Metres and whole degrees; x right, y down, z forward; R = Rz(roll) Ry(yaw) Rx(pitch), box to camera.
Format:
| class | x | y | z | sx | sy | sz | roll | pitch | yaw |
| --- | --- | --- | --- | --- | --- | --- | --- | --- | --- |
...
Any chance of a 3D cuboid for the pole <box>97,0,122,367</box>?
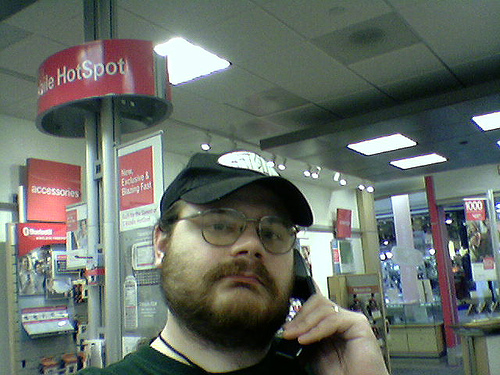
| class | x | y | z | sx | sy | sz | roll | pitch | yaw |
| --- | --- | --- | --- | --- | --- | --- | --- | --- | --- |
| pole | -1.206 | 0.323 | 3.681 | 0.135 | 2.283 | 0.230 | -1 | -13 | -18 |

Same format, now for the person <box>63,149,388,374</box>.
| class | x | y | z | sx | sy | sz | roll | pitch | yaw |
| --- | --- | --- | --- | --- | --- | --- | --- | --- | --- |
| person | -0.089 | 0.195 | 1.868 | 1.224 | 0.883 | 0.850 | 9 | -37 | -17 |

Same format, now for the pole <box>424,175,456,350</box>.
| class | x | y | z | sx | sy | sz | roll | pitch | yaw |
| --- | --- | --- | --- | --- | --- | --- | --- | --- | --- |
| pole | 4.196 | 1.363 | 9.469 | 0.297 | 3.230 | 0.636 | -10 | -13 | 21 |
